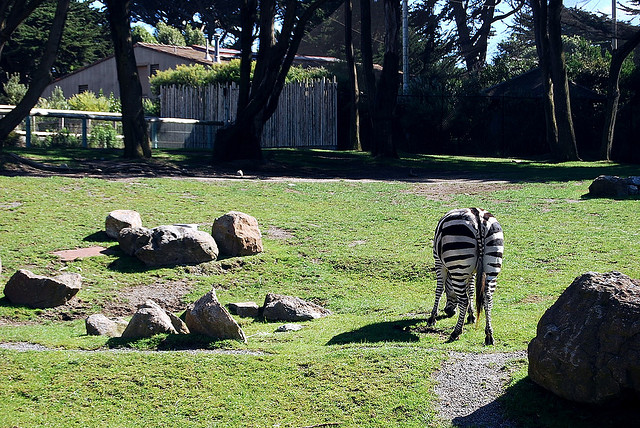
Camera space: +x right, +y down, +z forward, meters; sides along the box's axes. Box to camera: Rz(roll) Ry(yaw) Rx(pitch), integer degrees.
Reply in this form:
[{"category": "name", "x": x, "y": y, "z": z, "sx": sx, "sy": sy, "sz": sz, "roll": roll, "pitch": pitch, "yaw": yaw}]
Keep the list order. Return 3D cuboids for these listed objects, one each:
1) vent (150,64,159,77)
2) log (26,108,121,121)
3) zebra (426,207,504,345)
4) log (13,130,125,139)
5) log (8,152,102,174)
[{"category": "vent", "x": -9.685, "y": -8.371, "z": 64.684, "sx": 0.490, "sy": 0.684, "sz": 0.880, "roll": -1, "pitch": 5, "yaw": -39}, {"category": "log", "x": -9.923, "y": -4.028, "z": 44.941, "sx": 1.085, "sy": 0.343, "sz": 4.077, "roll": 5, "pitch": 5, "yaw": 42}, {"category": "zebra", "x": 3.912, "y": 1.542, "z": 29.939, "sx": 1.818, "sy": 3.491, "sz": 1.131, "roll": 2, "pitch": 4, "yaw": 12}, {"category": "log", "x": -10.259, "y": -3.283, "z": 45.474, "sx": 1.611, "sy": 0.229, "sz": 4.595, "roll": 5, "pitch": 5, "yaw": 42}, {"category": "log", "x": -9.445, "y": -1.823, "z": 39.435, "sx": 3.446, "sy": 0.500, "sz": 0.390, "roll": 8, "pitch": -22, "yaw": -24}]
